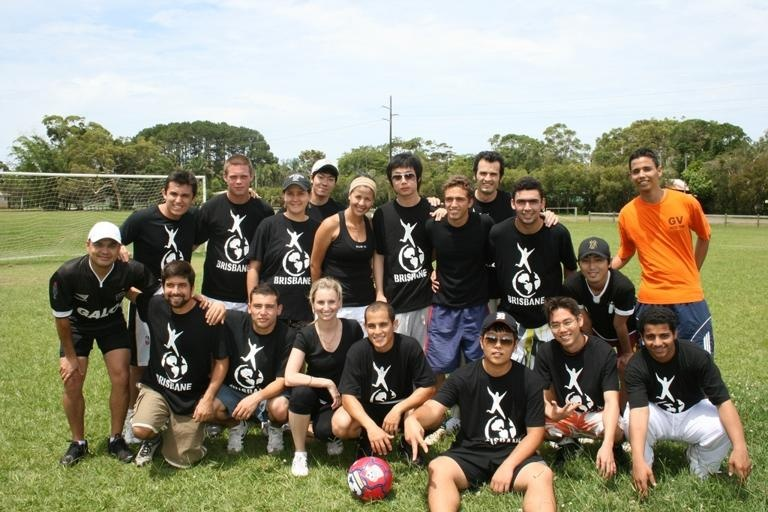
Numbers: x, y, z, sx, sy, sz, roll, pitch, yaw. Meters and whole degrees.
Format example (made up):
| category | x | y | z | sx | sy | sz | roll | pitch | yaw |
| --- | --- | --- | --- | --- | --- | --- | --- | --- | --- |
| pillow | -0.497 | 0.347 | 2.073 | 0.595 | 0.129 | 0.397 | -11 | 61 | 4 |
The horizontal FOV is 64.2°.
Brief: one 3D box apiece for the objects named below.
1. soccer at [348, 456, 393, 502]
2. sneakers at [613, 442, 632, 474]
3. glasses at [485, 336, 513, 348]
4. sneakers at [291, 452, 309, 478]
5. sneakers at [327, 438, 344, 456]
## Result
| category | x | y | z | sx | sy | sz | roll | pitch | yaw |
| --- | --- | --- | --- | --- | --- | --- | --- | --- | --- |
| soccer | -0.139 | 2.665 | 7.466 | 0.530 | 0.474 | 0.459 | 1 | 23 | 11 |
| sneakers | 3.078 | 2.594 | 7.858 | 0.281 | 0.277 | 0.110 | -22 | -54 | 38 |
| glasses | 1.408 | 1.027 | 7.476 | 0.337 | 0.106 | 0.074 | 1 | 5 | 4 |
| sneakers | -1.063 | 2.645 | 7.742 | 0.135 | 0.149 | 0.361 | 3 | 1 | -7 |
| sneakers | -0.648 | 2.555 | 8.161 | 0.147 | 0.166 | 0.245 | -1 | -27 | 1 |
